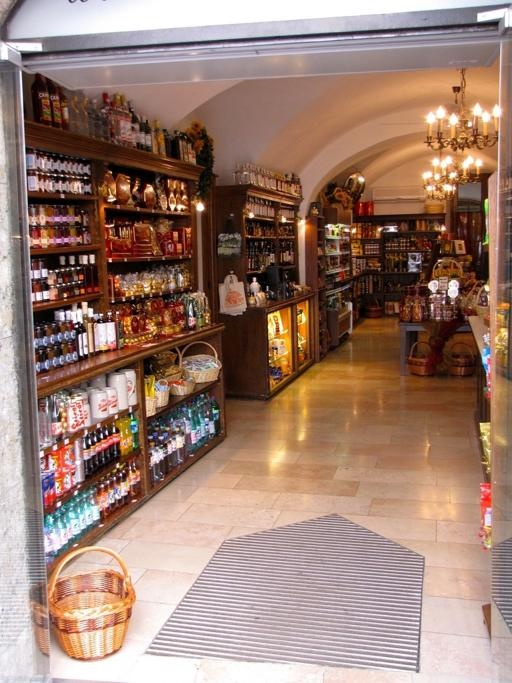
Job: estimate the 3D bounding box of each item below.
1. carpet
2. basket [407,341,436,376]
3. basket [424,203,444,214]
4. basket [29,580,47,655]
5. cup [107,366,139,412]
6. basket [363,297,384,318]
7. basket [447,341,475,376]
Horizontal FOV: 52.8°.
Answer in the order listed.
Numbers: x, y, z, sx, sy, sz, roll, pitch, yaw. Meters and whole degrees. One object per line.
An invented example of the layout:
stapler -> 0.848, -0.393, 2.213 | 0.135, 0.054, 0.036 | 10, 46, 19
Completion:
carpet -> 0.241, 1.258, 2.644 | 1.174, 0.066, 1.392 | -1, 4, 19
basket -> 2.670, 0.260, 8.373 | 0.537, 0.636, 0.641 | 0, 0, 7
basket -> 5.590, -4.190, 16.137 | 0.594, 0.505, 0.612 | -1, 4, 16
basket -> -0.774, 0.996, 1.853 | 0.036, 0.273, 0.062 | 2, 5, 44
cup -> -0.979, 0.359, 3.724 | 0.125, 0.282, 0.339 | -1, 4, 11
basket -> 3.703, -1.074, 16.149 | 0.557, 0.632, 0.738 | -1, 4, 12
basket -> 3.431, 0.291, 8.343 | 0.512, 0.657, 0.667 | -1, -2, 21
